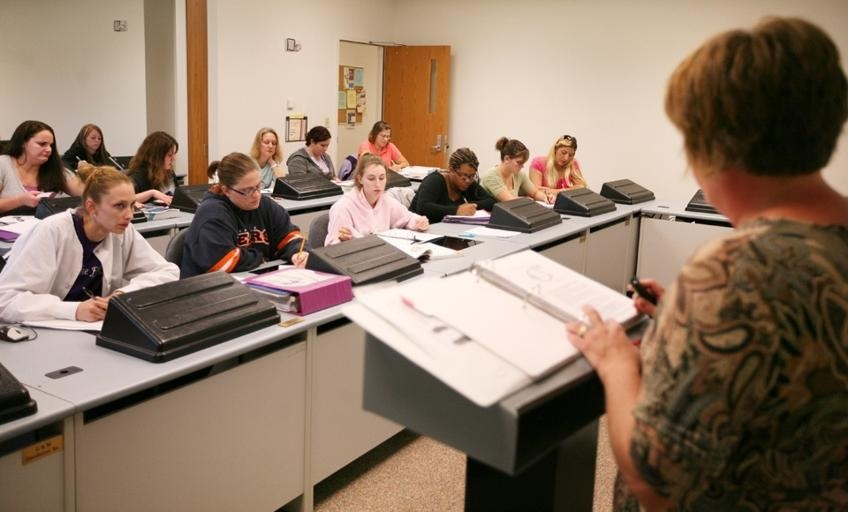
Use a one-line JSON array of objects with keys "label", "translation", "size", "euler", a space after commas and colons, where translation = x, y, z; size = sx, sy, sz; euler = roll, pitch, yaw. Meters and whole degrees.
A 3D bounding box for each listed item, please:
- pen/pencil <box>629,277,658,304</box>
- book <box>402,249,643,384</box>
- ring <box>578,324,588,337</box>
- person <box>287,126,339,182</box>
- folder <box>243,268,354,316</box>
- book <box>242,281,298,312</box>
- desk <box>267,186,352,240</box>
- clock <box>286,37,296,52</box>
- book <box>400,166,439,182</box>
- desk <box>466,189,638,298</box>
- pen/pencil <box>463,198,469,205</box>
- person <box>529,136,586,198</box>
[{"label": "pen/pencil", "translation": [0.546, 0.089, 1.376], "size": [0.118, 0.029, 0.027], "euler": [38, 1, -29]}, {"label": "book", "translation": [0.208, 0.119, 1.292], "size": [0.319, 0.075, 0.391], "euler": [29, 25, 29]}, {"label": "ring", "translation": [0.339, 0.160, 1.186], "size": [0.016, 0.008, 0.022], "euler": [-28, 29, -24]}, {"label": "person", "translation": [-1.352, -1.165, 6.599], "size": [0.475, 0.748, 0.835], "euler": [9, 14, 18]}, {"label": "folder", "translation": [-0.579, 0.145, 2.430], "size": [0.276, 0.071, 0.279], "euler": [11, 15, 29]}, {"label": "book", "translation": [-0.632, 0.188, 2.379], "size": [0.161, 0.037, 0.153], "euler": [14, 15, 21]}, {"label": "desk", "translation": [-1.046, -0.421, 5.032], "size": [0.417, 0.353, 0.762], "euler": [13, 19, 30]}, {"label": "clock", "translation": [-1.888, -2.975, 7.768], "size": [0.048, 0.176, 0.189], "euler": [11, 21, 32]}, {"label": "book", "translation": [-0.094, -1.089, 7.195], "size": [0.485, 0.110, 0.499], "euler": [12, 19, 36]}, {"label": "desk", "translation": [1.238, 0.003, 4.632], "size": [1.083, 0.619, 0.364], "euler": [-18, 26, -27]}, {"label": "pen/pencil", "translation": [0.345, -0.466, 4.723], "size": [0.026, 0.021, 0.112], "euler": [-7, 36, -14]}, {"label": "person", "translation": [1.430, -0.872, 5.896], "size": [0.648, 0.744, 0.551], "euler": [5, 13, 5]}]
